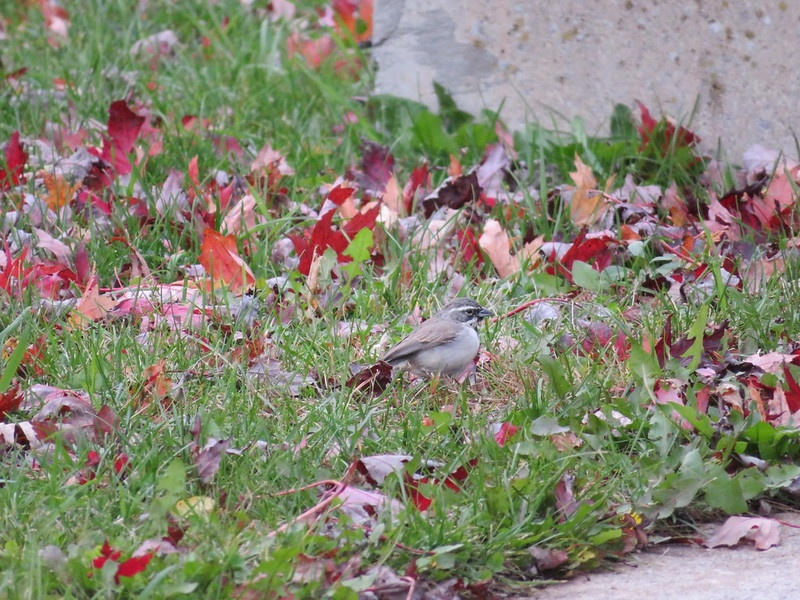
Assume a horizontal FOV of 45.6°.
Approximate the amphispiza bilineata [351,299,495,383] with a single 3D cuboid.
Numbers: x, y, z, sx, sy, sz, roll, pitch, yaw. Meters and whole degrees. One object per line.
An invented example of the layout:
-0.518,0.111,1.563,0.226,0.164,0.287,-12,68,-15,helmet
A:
0.109,0.173,3.937,0.533,0.357,0.196,0,-2,1,amphispiza bilineata
